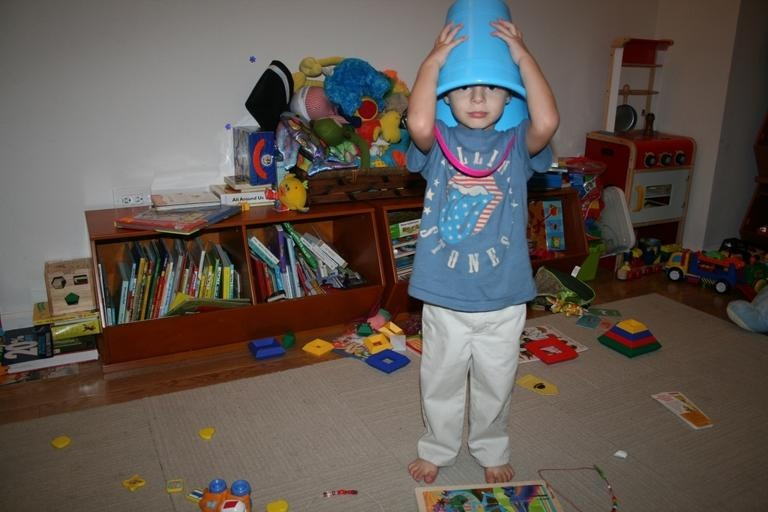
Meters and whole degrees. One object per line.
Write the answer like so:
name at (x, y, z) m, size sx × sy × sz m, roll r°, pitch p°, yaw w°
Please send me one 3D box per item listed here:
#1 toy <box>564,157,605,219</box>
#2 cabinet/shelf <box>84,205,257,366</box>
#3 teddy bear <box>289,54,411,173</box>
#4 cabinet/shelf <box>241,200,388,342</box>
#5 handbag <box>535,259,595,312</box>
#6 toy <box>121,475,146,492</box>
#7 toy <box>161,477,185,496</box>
toy at (1.460, -0.477, 3.627) m, size 0.333 × 0.359 × 0.327 m, roll -11°, pitch 23°, yaw -22°
cabinet/shelf at (-1.144, 0.222, 2.737) m, size 0.880 × 0.628 × 0.485 m, roll -12°, pitch 4°, yaw -41°
teddy bear at (-0.226, -0.832, 2.967) m, size 0.845 × 0.637 × 0.387 m, roll -8°, pitch 18°, yaw -10°
cabinet/shelf at (-0.469, -0.017, 3.232) m, size 1.014 × 0.716 × 0.727 m, roll -4°, pitch 15°, yaw -12°
handbag at (1.168, 0.199, 3.245) m, size 0.388 × 0.154 × 0.312 m, roll 27°, pitch 24°, yaw 19°
toy at (-1.003, 0.905, 1.982) m, size 0.051 × 0.015 × 0.051 m, roll 17°, pitch 25°, yaw 20°
toy at (-0.839, 0.913, 1.974) m, size 0.087 × 0.030 × 0.057 m, roll -3°, pitch 18°, yaw 6°
